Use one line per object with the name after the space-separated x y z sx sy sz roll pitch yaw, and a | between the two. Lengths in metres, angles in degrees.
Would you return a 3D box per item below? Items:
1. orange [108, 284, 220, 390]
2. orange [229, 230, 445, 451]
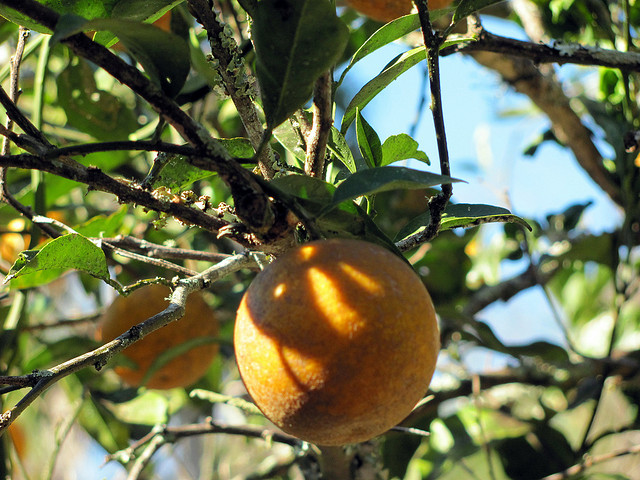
-0.476 0.322 2.367 0.334 0.359 0.360 7 -43 -17 | orange
0.035 0.208 1.677 0.439 0.490 0.457 -5 0 -4 | orange
